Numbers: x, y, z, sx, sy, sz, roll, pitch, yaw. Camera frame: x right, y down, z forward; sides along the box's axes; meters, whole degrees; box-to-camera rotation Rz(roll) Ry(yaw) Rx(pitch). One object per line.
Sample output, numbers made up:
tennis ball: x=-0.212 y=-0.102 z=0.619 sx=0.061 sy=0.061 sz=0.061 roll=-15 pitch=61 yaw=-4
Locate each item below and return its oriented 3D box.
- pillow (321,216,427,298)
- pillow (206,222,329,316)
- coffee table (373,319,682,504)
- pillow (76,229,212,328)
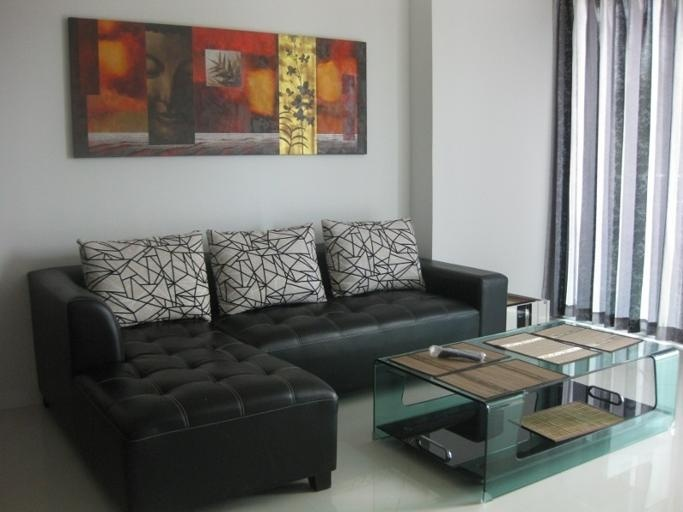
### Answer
pillow: x=0.233 y=0.012 z=4.168 sx=0.792 sy=0.515 sz=0.282 roll=-6 pitch=16 yaw=-25
pillow: x=-0.518 y=0.111 z=3.715 sx=0.610 sy=0.437 sz=0.242 roll=-14 pitch=11 yaw=-32
coffee table: x=1.035 y=0.768 z=3.095 sx=1.597 sy=0.556 sz=0.780 roll=-9 pitch=11 yaw=-28
pillow: x=-1.212 y=0.157 z=3.459 sx=0.782 sy=0.561 sz=0.285 roll=-7 pitch=14 yaw=-44
